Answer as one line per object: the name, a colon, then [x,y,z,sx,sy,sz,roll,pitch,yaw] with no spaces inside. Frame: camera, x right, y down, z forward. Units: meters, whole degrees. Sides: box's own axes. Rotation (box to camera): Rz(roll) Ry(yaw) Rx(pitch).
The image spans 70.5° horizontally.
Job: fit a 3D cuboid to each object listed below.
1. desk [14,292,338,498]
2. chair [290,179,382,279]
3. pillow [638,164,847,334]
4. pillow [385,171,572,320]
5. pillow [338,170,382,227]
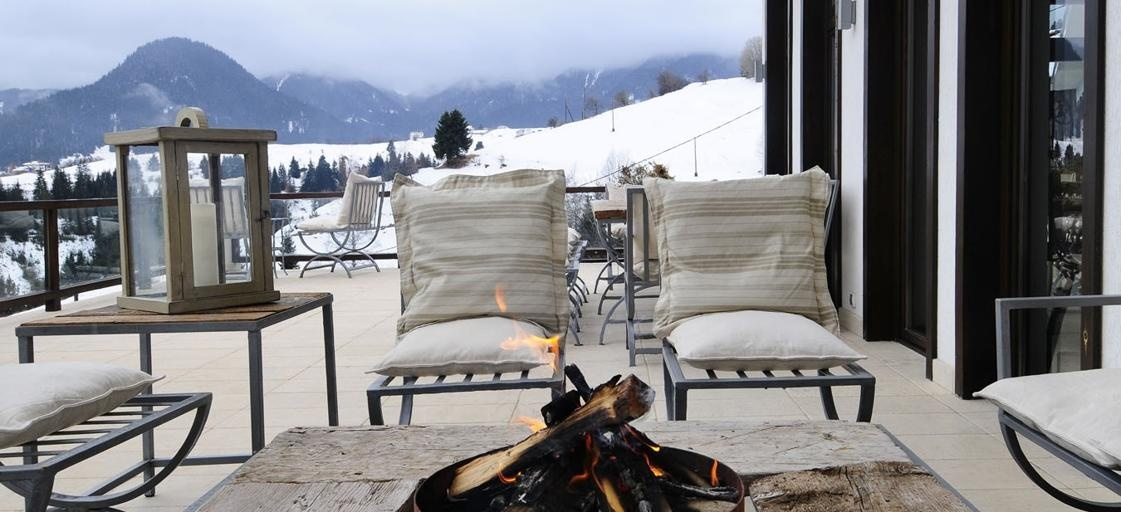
desk: [-2.716,0.821,6.127,2.026,1.240,1.741,0,4,7]
chair: [-3.268,-0.460,11.758,1.363,1.254,1.248,-6,3,30]
pillow: [1.453,-0.030,6.231,1.979,1.504,0.369,-1,-11,3]
pillow: [-0.586,-0.081,5.979,1.704,1.322,0.534,-1,-10,-1]
pillow: [-2.909,-0.773,11.591,0.334,0.653,0.784,-7,-3,26]
